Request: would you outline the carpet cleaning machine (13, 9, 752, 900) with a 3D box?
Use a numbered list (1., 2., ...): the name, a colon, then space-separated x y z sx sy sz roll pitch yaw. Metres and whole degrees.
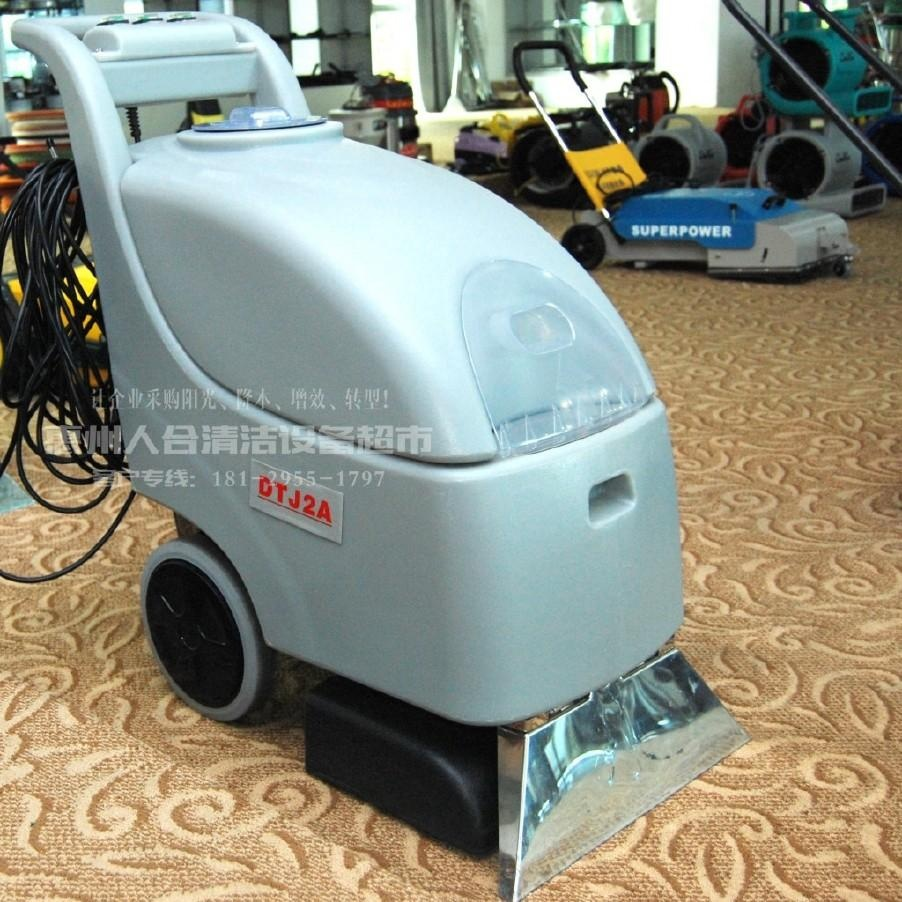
1. carpet cleaning machine: -0.025 -0.171 1.702 1.350 1.181 0.790 18 26 34
